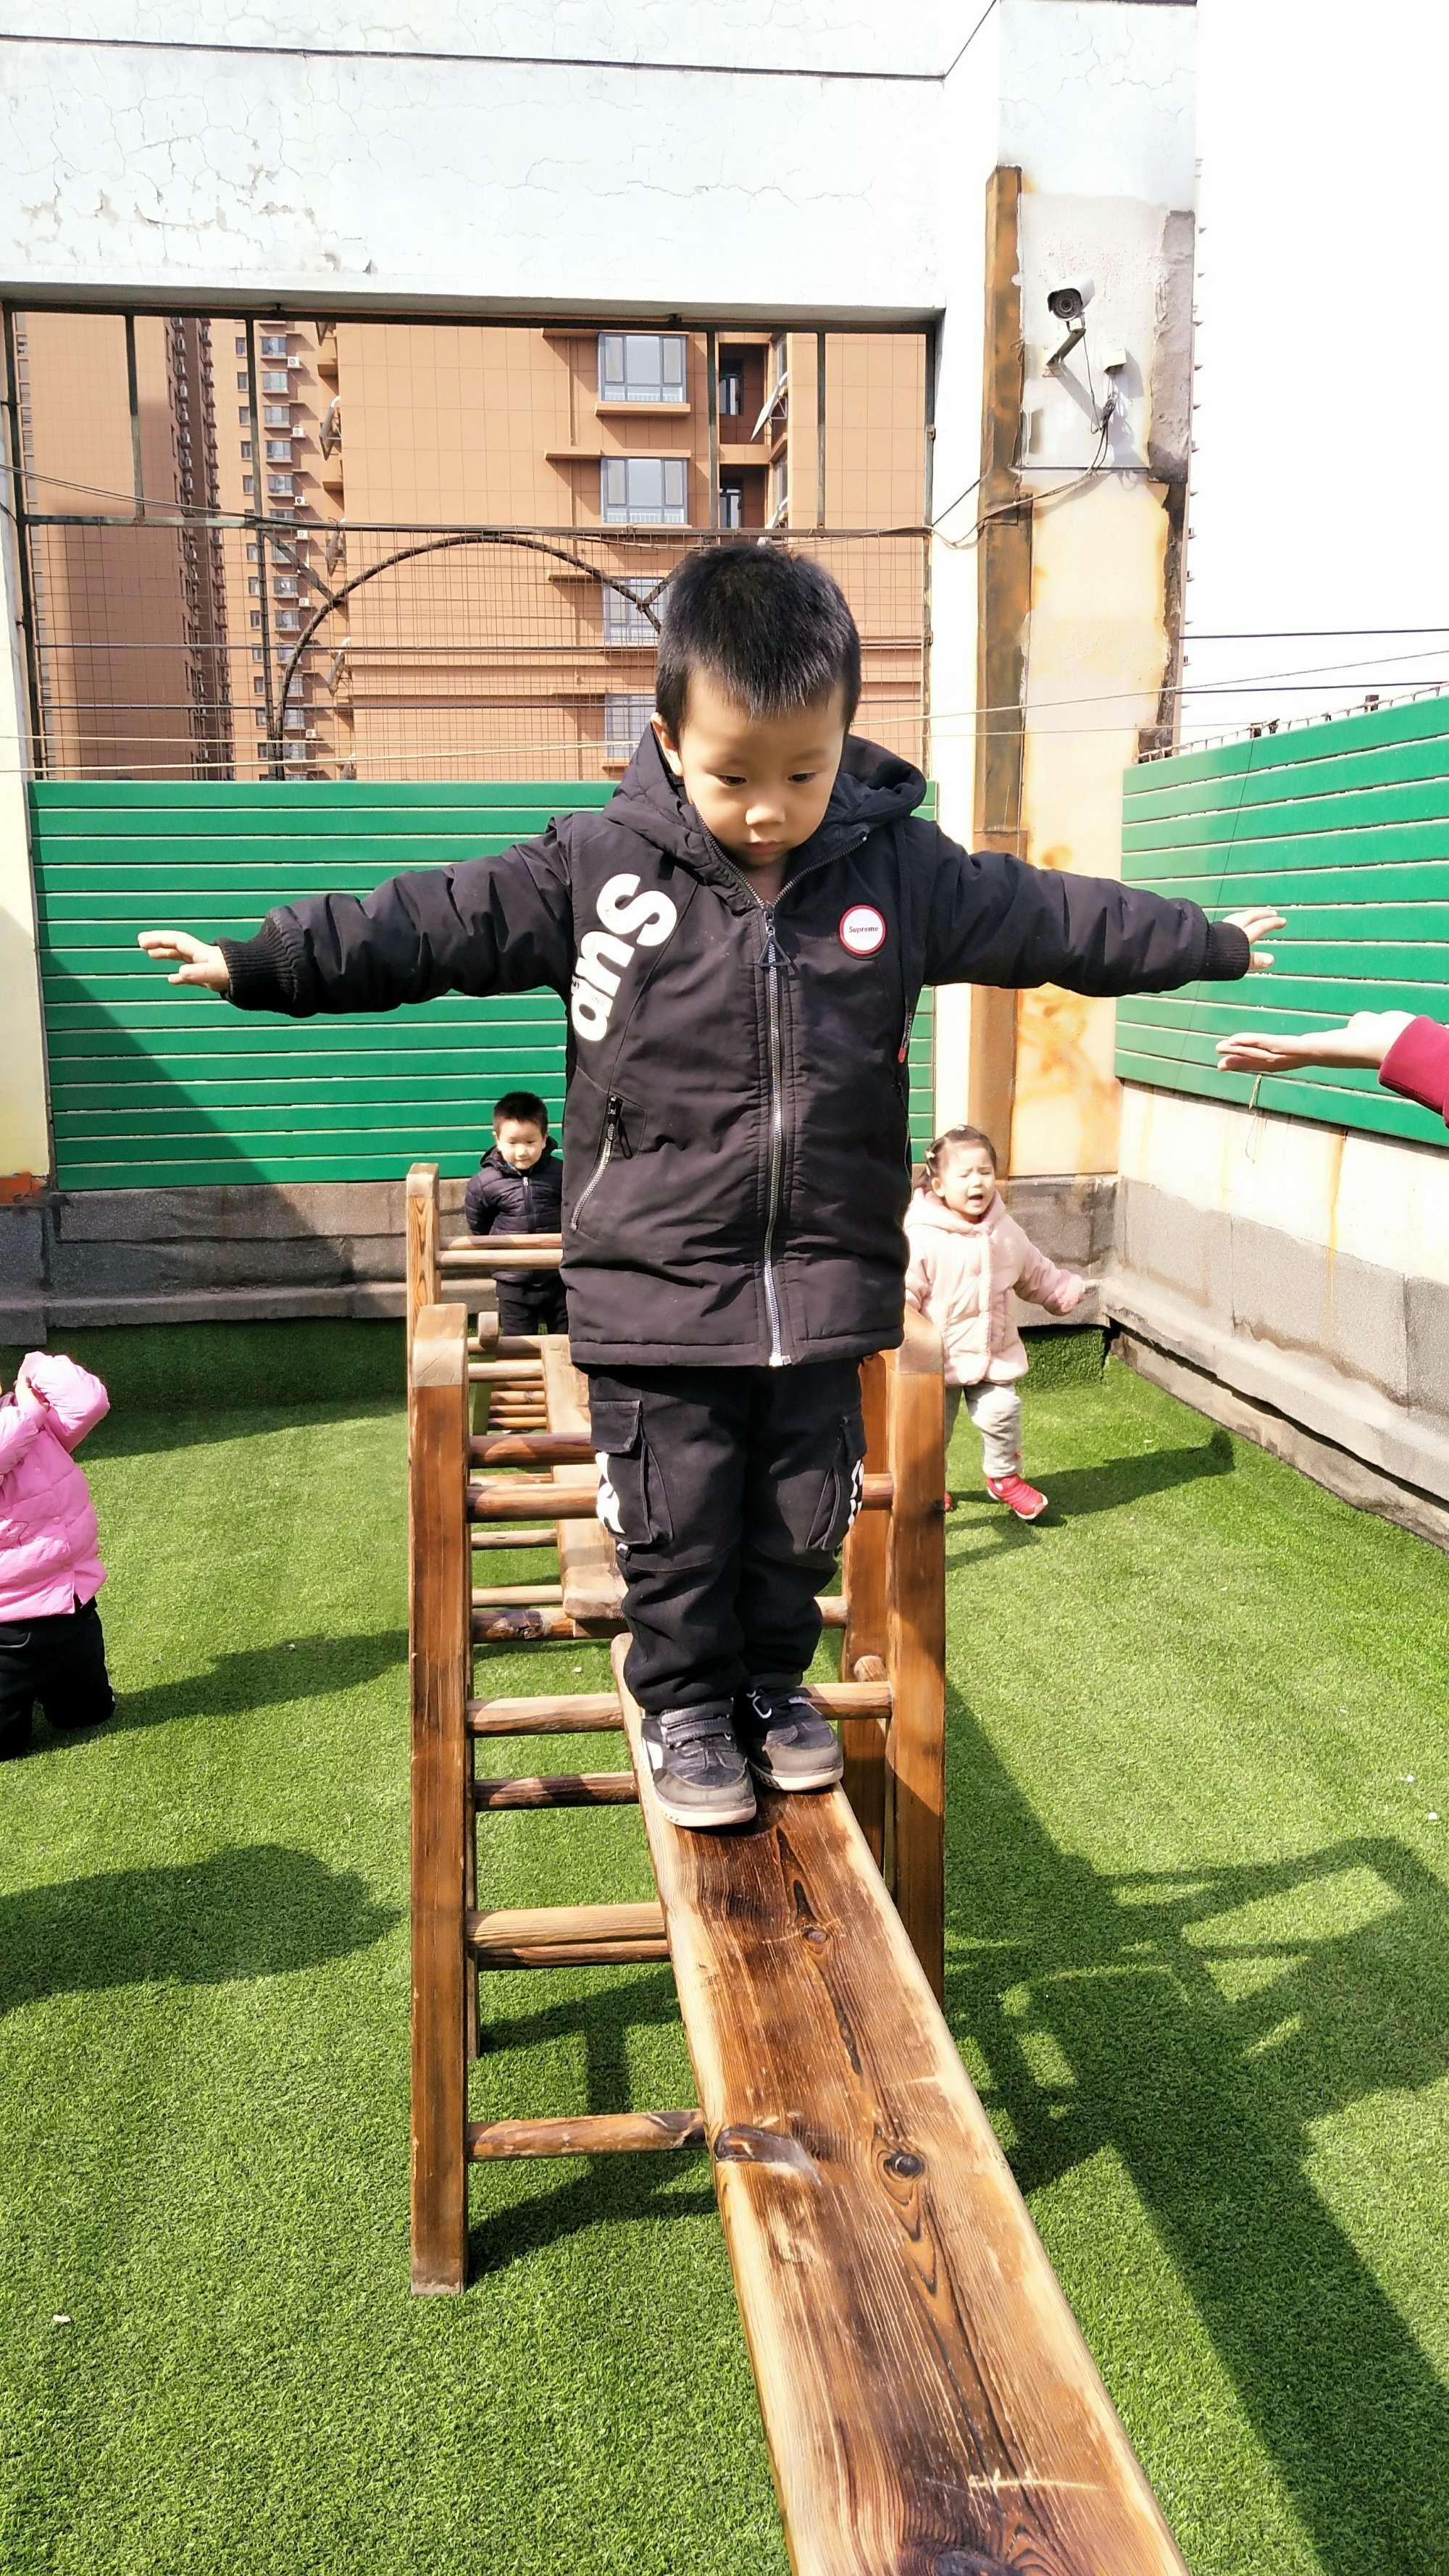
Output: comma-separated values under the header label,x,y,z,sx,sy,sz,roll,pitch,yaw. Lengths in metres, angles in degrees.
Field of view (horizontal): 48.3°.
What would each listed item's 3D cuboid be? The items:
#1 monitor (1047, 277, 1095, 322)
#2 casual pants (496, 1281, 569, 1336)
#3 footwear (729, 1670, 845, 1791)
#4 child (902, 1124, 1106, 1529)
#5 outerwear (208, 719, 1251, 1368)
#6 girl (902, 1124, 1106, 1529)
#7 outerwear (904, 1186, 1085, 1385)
label,x,y,z,sx,sy,sz,roll,pitch,yaw
monitor,1.371,-3.845,6.302,0.123,0.111,0.252,-5,24,14
casual pants,-0.654,0.065,5.479,0.151,0.229,0.110,-4,5,-45
footwear,0.069,0.486,1.769,0.063,0.072,0.153,-4,1,-12
child,0.831,0.129,5.258,0.652,1.339,0.424,-7,28,2
outerwear,-0.020,-0.560,3.961,2.186,1.593,0.625,-3,7,-10
girl,0.861,0.128,5.235,0.629,1.312,0.451,-1,27,12
outerwear,0.870,0.006,5.114,0.674,0.676,0.286,-1,-5,-20
